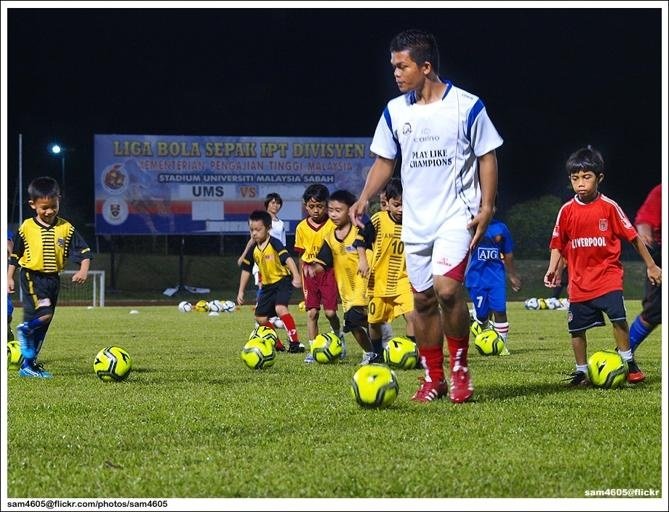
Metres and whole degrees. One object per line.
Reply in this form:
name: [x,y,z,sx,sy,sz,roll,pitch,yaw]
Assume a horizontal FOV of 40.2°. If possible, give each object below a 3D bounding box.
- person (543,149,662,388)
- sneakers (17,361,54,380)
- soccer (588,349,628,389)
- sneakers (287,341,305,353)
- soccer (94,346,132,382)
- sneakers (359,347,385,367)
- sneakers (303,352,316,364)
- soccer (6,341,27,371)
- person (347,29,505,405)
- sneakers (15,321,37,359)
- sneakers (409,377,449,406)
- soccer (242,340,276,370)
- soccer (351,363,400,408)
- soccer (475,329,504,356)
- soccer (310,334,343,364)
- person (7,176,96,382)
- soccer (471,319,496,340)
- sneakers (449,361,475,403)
person: [2.244,0.046,7.713,0.955,2.039,0.626,0,-3,18]
sneakers: [-2.609,1.019,8.138,0.380,0.166,0.135,2,1,4]
soccer: [2.201,0.914,7.382,0.311,0.287,0.156,0,-3,13]
sneakers: [-0.451,1.043,10.519,0.169,0.126,0.101,6,0,20]
soccer: [-1.915,0.943,7.940,0.295,0.302,0.293,11,-39,1]
sneakers: [0.301,1.004,9.026,0.413,0.189,0.137,6,-12,-43]
sneakers: [-0.266,1.065,9.474,0.058,0.084,0.177,2,-10,-10]
soccer: [-2.944,0.924,8.379,0.201,0.256,0.206,-1,-3,11]
person: [0.729,-0.286,6.745,0.934,2.709,0.434,0,-3,1]
sneakers: [-2.805,0.762,8.285,0.247,0.331,0.144,-2,-4,38]
sneakers: [0.738,1.026,6.923,0.358,0.171,0.119,4,-9,-42]
soccer: [-0.731,0.951,8.684,0.254,0.281,0.275,-19,-43,17]
soccer: [0.291,0.958,6.547,0.272,0.297,0.286,-18,0,7]
soccer: [1.687,0.953,10.140,0.253,0.287,0.290,21,-1,-30]
soccer: [-0.053,0.912,9.262,0.280,0.311,0.277,25,-43,-35]
person: [-2.677,0.195,8.378,0.543,1.745,0.617,-1,-3,31]
soccer: [1.773,0.876,11.094,0.186,0.174,0.273,-1,-5,0]
sneakers: [0.931,0.947,6.719,0.110,0.143,0.319,-7,16,6]
